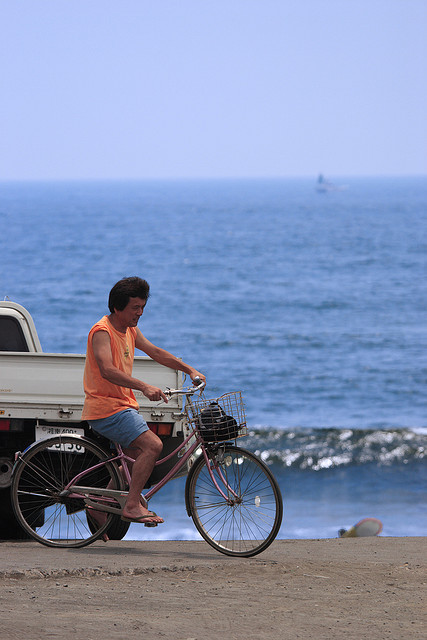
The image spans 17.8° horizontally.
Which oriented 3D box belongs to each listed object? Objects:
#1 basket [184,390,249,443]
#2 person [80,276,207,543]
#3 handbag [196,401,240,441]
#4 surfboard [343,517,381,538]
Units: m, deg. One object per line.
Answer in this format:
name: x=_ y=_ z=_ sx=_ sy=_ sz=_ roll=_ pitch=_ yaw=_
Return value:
basket: x=0.023 y=0.581 z=8.347 sx=0.263 sy=0.258 sz=0.376 roll=-6 pitch=-2 yaw=42
person: x=-0.492 y=0.607 z=8.397 sx=0.683 sy=1.568 sz=0.991 roll=7 pitch=1 yaw=-4
handbag: x=0.024 y=0.592 z=8.294 sx=0.250 sy=0.278 sz=0.192 roll=-1 pitch=21 yaw=17
surfboard: x=1.541 y=2.083 z=13.695 sx=0.357 sy=0.193 sz=0.851 roll=8 pitch=1 yaw=8
